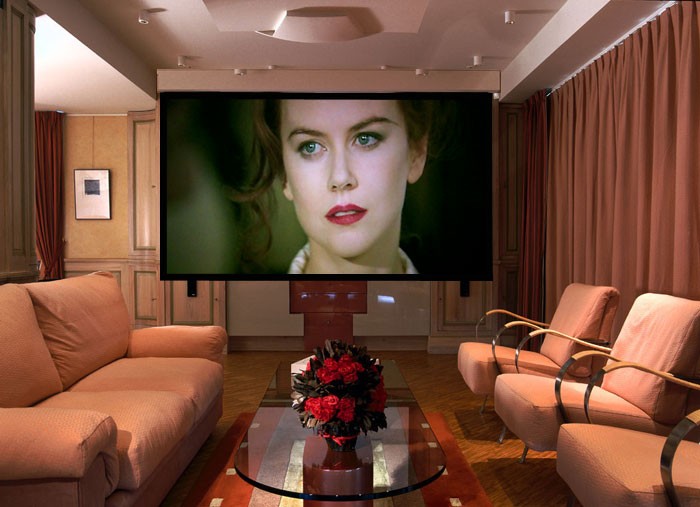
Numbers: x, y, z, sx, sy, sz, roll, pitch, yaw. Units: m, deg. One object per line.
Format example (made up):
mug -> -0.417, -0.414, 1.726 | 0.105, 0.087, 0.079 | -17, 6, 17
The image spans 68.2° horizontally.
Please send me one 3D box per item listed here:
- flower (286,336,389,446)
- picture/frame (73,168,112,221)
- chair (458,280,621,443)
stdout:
flower -> -0.097, 0.691, 2.781 | 0.474, 0.536, 0.496 | -2, 7, -27
picture/frame -> -3.135, -0.750, 6.344 | 0.544, 0.897, 0.065 | 0, 1, -4
chair -> 1.329, 0.822, 4.215 | 1.126, 1.354, 0.956 | 0, -4, -4
